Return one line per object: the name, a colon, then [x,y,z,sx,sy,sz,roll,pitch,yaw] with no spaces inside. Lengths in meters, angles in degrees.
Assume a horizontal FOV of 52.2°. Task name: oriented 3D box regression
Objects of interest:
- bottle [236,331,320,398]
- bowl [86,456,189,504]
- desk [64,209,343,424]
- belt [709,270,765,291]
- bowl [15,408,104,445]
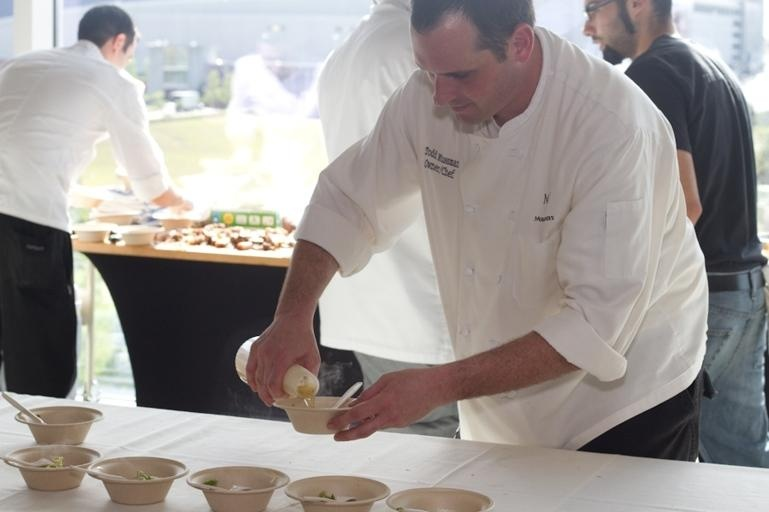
bottle: [-0.326,0.341,2.326,0.301,0.166,0.105,8,13,30]
bowl: [-0.672,0.613,2.137,0.255,0.083,0.177,-4,13,-24]
desk: [-0.978,0.335,3.944,0.934,0.804,0.964,2,-4,12]
belt: [1.478,0.103,3.258,0.290,0.098,0.055,-2,11,-18]
bowl: [-0.970,0.520,2.379,0.206,0.079,0.232,11,0,12]
